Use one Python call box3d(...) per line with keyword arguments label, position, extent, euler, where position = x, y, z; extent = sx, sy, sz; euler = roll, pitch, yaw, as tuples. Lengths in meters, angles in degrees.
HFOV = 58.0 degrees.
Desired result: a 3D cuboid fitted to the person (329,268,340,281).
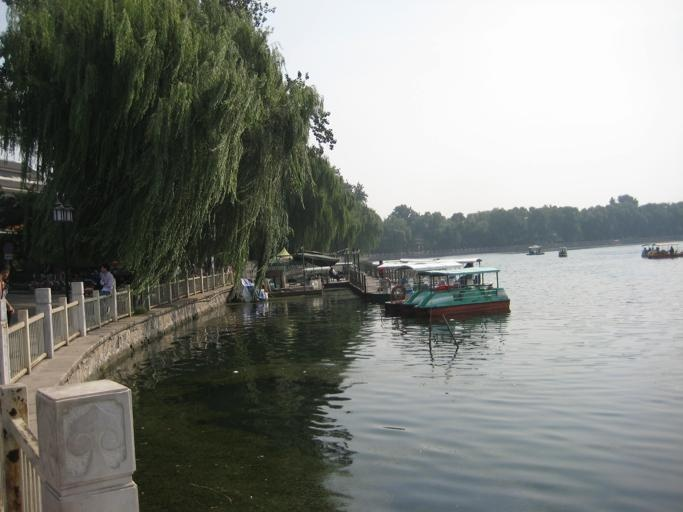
box3d(label="person", position=(-0.648, 1.650, 54.266), extent=(0.382, 1.228, 0.789), euler=(-13, 19, -39))
